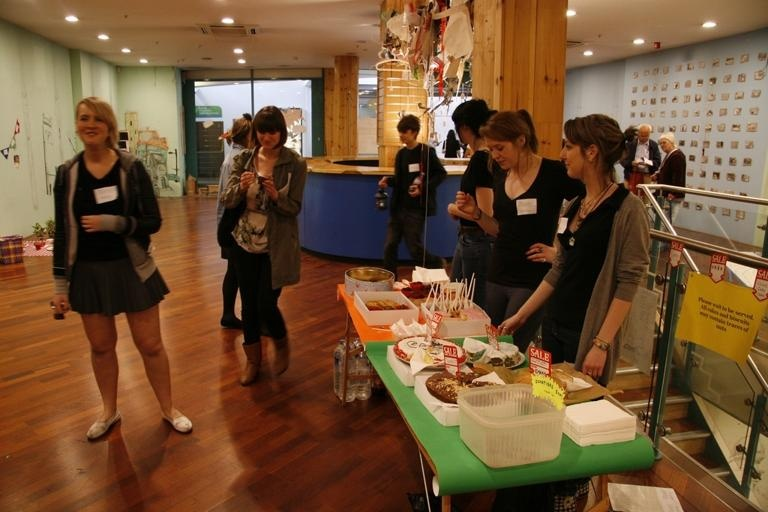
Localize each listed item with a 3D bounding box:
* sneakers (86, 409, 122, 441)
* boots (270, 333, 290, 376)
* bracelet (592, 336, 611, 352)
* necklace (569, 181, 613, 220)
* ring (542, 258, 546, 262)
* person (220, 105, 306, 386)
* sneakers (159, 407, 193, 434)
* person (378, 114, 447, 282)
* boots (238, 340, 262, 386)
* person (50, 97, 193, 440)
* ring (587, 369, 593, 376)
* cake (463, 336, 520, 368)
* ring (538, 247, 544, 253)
[{"bbox_3d":[-1.977,1.180,3.495,0.099,0.078,0.241,17,24,7],"label":"sneakers"},{"bbox_3d":[-0.867,0.806,4.335,0.169,0.312,0.463,2,6,3],"label":"boots"},{"bbox_3d":[1.105,0.438,2.495,0.086,0.048,0.079,18,0,33],"label":"bracelet"},{"bbox_3d":[1.114,-0.285,2.590,0.122,0.188,0.037,12,43,-13],"label":"necklace"},{"bbox_3d":[0.980,0.016,3.016,0.009,0.011,0.035,29,-6,-27],"label":"ring"},{"bbox_3d":[-0.955,-0.074,3.974,0.663,2.170,0.445,1,14,2],"label":"person"},{"bbox_3d":[-1.457,1.154,3.502,0.258,0.070,0.115,8,25,45],"label":"sneakers"},{"bbox_3d":[0.315,-0.634,5.424,0.693,1.748,0.793,0,14,-1],"label":"person"},{"bbox_3d":[-1.110,0.845,4.068,0.139,0.263,0.373,5,13,1],"label":"boots"},{"bbox_3d":[-1.757,0.124,3.269,0.743,2.250,0.323,-3,14,-13],"label":"person"},{"bbox_3d":[1.058,0.586,2.532,0.029,0.029,0.008,2,-3,-2],"label":"ring"},{"bbox_3d":[0.577,0.501,2.561,0.163,0.055,0.166,-3,9,-19],"label":"cake"},{"bbox_3d":[0.959,-0.045,3.000,0.034,0.031,0.008,-1,3,11],"label":"ring"}]
